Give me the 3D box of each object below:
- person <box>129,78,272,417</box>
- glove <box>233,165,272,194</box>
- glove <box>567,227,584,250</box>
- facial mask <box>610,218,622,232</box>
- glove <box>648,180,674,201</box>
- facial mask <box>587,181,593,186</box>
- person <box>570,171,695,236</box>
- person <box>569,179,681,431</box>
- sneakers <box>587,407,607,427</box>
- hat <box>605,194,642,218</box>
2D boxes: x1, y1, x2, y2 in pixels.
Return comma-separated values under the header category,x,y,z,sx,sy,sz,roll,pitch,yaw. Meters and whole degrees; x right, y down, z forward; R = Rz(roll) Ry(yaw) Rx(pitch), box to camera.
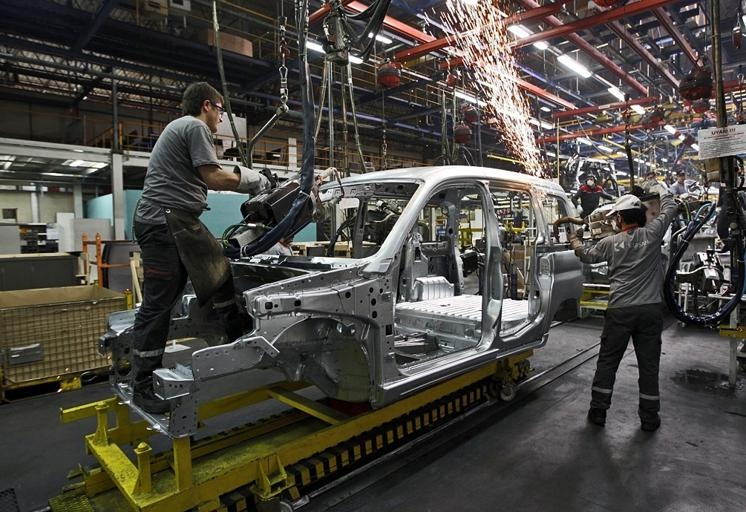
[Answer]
category,x,y,z,sx,sy,sz,roll,pitch,yaw
person,-1.723,0.042,4.849,1.053,2.705,0.509,0,3,-24
glove,-1.150,-0.721,4.936,0.195,0.130,0.330,36,25,31
glove,2.410,-0.209,6.195,0.216,0.276,0.102,5,-1,-40
facial mask,2.920,-0.372,6.186,0.115,0.139,0.127,-4,-13,15
glove,3.556,-0.807,6.332,0.221,0.104,0.305,-5,12,2
facial mask,4.922,-1.651,11.672,0.113,0.095,0.093,8,-4,-42
person,3.037,-0.597,6.255,0.991,0.390,0.717,-13,10,17
person,2.935,0.606,5.977,1.082,2.628,0.623,2,3,12
sneakers,2.576,1.818,5.895,0.220,0.201,0.212,2,3,17
hat,2.910,-0.580,6.006,0.363,0.178,0.244,-5,5,17
